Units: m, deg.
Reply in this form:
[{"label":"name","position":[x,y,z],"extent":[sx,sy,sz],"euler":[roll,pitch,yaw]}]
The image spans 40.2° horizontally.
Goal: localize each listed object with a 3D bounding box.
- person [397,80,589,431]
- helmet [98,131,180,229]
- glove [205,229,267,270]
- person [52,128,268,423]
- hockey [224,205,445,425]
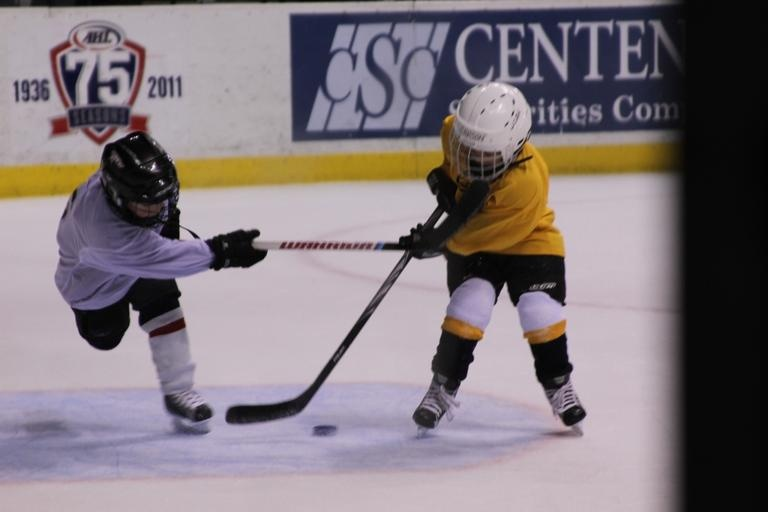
[{"label":"person","position":[0.583,0.009,5.005],"extent":[0.808,1.578,0.674],"euler":[3,20,5]},{"label":"helmet","position":[-1.152,-0.343,4.860],"extent":[0.416,0.346,0.307],"euler":[23,32,21]},{"label":"glove","position":[-0.696,-0.012,4.868],"extent":[0.250,0.206,0.164],"euler":[-15,26,-39]},{"label":"person","position":[-1.082,0.125,5.067],"extent":[1.079,1.450,0.546],"euler":[8,29,15]},{"label":"hockey","position":[-0.209,0.346,5.016],"extent":[0.187,1.630,0.179],"euler":[36,34,-5]}]
